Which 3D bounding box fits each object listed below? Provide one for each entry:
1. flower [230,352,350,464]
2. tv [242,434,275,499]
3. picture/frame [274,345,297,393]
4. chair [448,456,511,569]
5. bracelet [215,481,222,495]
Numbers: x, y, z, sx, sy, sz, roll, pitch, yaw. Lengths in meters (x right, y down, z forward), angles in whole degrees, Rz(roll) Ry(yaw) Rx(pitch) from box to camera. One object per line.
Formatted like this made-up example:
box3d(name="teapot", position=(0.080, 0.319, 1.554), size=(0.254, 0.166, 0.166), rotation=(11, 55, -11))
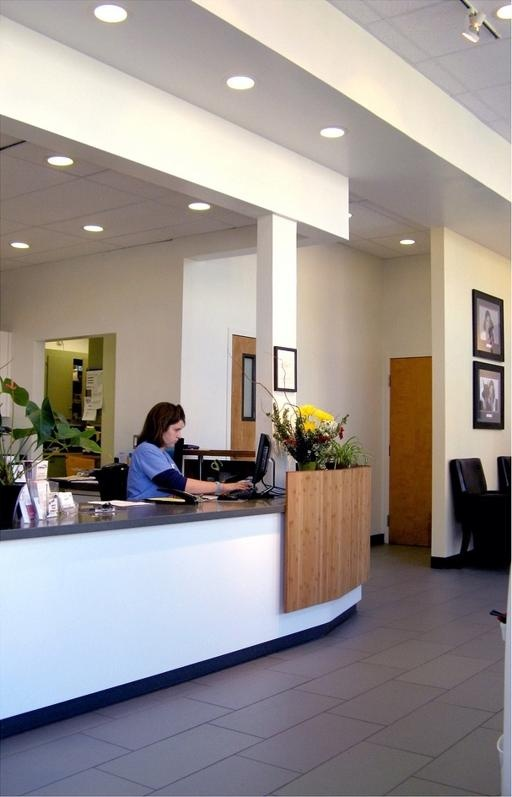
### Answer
box3d(name="flower", position=(0.281, 0.047, 3.860), size=(0.624, 0.914, 0.417), rotation=(0, 11, 43))
box3d(name="tv", position=(0.015, 0.423, 3.825), size=(0.206, 0.407, 0.263), rotation=(4, -7, 12))
box3d(name="picture/frame", position=(0.193, -0.205, 4.062), size=(0.022, 0.360, 0.301), rotation=(-2, -2, 34))
box3d(name="chair", position=(2.465, 1.224, 6.331), size=(0.614, 1.183, 0.667), rotation=(0, 1, 41))
box3d(name="bracelet", position=(-0.225, 0.543, 3.614), size=(0.039, 0.070, 0.067), rotation=(3, 9, 0))
